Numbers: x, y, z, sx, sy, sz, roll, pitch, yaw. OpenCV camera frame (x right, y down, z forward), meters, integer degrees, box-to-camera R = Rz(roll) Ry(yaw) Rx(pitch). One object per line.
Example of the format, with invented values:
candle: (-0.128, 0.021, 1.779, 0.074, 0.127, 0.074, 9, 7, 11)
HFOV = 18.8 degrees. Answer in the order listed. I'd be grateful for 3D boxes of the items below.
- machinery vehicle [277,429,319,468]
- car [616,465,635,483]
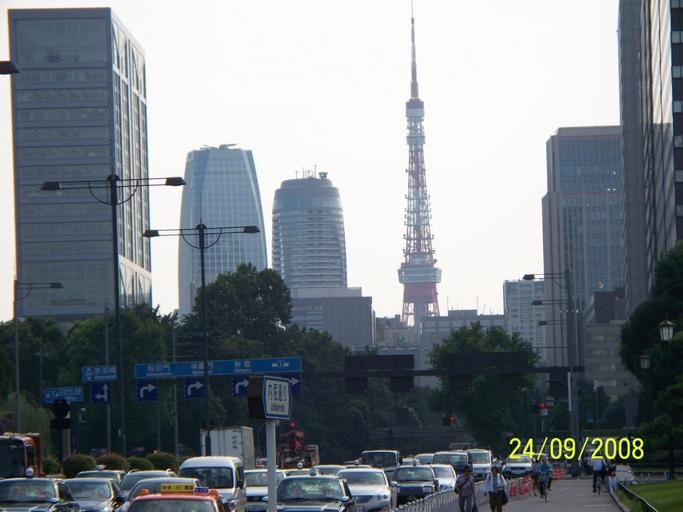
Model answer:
machinery vehicle: (-5.795, 24.151, 263.833, 4.440, 4.104, 8.216, 1, 1, 5)
car: (29.515, 22.286, 213.632, 1.866, 2.032, 3.487, -5, -8, 7)
